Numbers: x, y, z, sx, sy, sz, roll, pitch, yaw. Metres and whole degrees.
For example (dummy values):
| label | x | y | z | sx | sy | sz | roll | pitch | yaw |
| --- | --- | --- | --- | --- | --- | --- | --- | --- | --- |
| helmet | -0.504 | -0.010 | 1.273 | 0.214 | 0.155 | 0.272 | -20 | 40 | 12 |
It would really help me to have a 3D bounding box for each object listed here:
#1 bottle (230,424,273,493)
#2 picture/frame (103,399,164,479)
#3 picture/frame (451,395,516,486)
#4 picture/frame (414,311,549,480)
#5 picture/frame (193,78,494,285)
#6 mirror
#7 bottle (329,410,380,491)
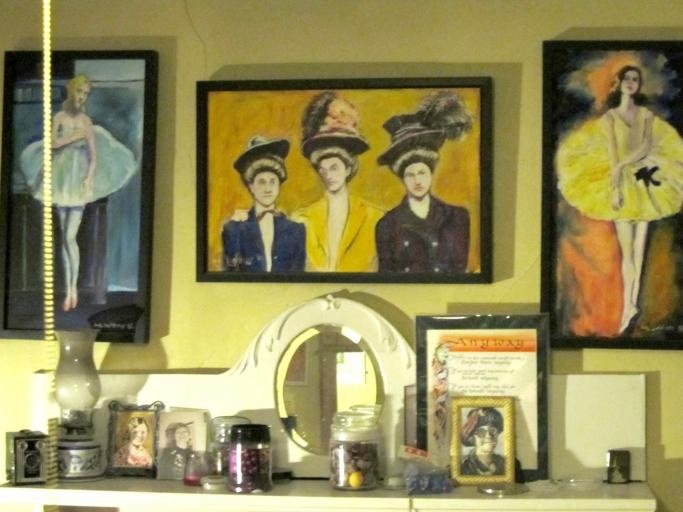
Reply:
| label | x | y | z | sx | sy | sz | roll | pitch | yaw |
| --- | --- | --- | --- | --- | --- | --- | --- | --- | --- |
| bottle | -0.259 | 0.577 | 2.812 | 0.121 | 0.180 | 0.125 | -1 | -8 | 0 |
| picture/frame | -0.603 | 0.551 | 2.911 | 0.220 | 0.268 | 0.029 | 0 | -6 | 8 |
| picture/frame | 0.405 | 0.540 | 2.820 | 0.241 | 0.321 | 0.036 | 0 | -7 | 3 |
| picture/frame | 0.410 | 0.424 | 2.841 | 0.467 | 0.602 | 0.039 | 0 | -3 | 4 |
| picture/frame | 0.047 | -0.209 | 2.952 | 0.617 | 0.444 | 0.028 | 0 | 2 | 6 |
| mirror | -0.024 | 0.400 | 2.879 | 0.398 | 0.482 | 0.047 | 1 | -4 | 2 |
| bottle | 0.039 | 0.551 | 2.817 | 0.137 | 0.226 | 0.109 | 0 | -9 | 0 |
